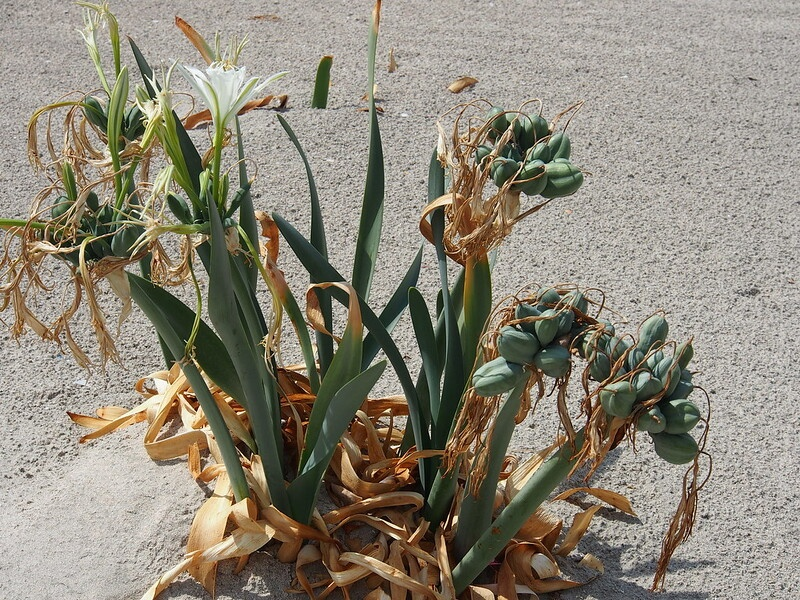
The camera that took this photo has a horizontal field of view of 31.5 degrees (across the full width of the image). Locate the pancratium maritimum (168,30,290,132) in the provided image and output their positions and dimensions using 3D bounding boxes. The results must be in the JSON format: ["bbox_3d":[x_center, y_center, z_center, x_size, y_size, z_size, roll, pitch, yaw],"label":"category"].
[{"bbox_3d":[-0.545,-0.676,4.510,0.400,0.197,0.447,6,32,-33],"label":"pancratium maritimum"}]
